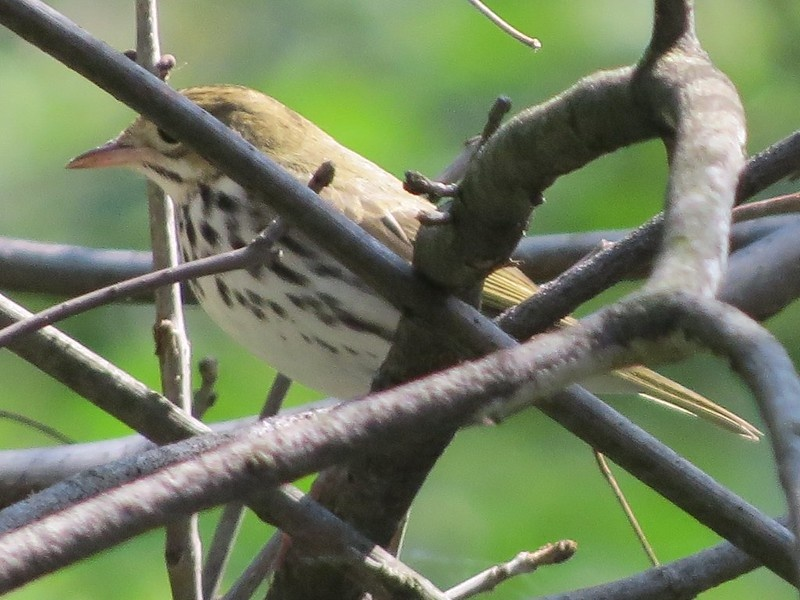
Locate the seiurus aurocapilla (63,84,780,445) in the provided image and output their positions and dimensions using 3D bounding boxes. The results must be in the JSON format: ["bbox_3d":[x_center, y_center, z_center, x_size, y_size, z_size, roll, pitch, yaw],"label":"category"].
[{"bbox_3d":[0.016,-0.091,2.489,0.451,1.476,0.641,-54,-34,-21],"label":"seiurus aurocapilla"}]
